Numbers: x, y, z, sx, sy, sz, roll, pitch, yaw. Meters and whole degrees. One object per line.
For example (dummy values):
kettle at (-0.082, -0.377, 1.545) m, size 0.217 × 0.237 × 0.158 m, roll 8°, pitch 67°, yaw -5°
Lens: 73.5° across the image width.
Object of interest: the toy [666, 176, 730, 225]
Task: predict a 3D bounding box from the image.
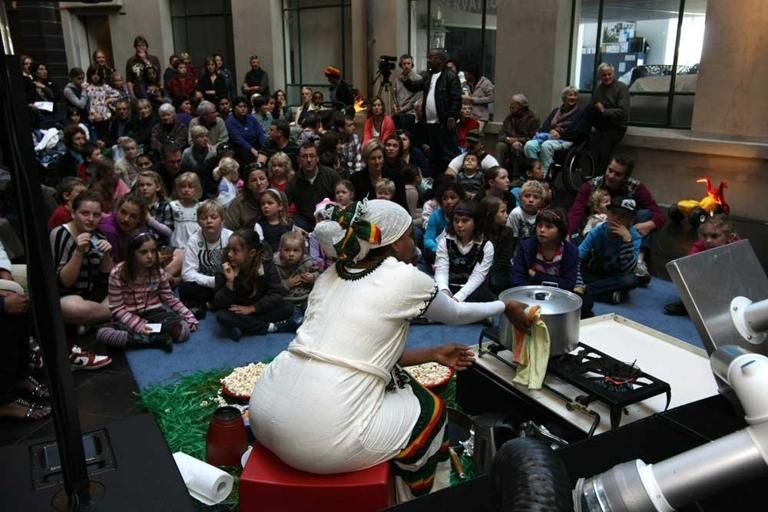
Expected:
toy at (3.874, -0.677, 6.292) m, size 0.650 × 0.659 × 0.648 m, roll -16°, pitch 17°, yaw -22°

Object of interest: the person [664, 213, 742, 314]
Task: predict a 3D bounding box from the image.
person at (2.636, 0.017, 4.255) m, size 0.369 × 0.778 × 0.820 m, roll 12°, pitch 22°, yaw 34°

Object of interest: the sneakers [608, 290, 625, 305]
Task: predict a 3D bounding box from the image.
sneakers at (2.000, 0.353, 4.381) m, size 0.102 × 0.084 × 0.137 m, roll 7°, pitch 21°, yaw 16°

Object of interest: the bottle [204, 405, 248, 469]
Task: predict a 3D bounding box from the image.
bottle at (-0.737, 0.883, 2.549) m, size 0.218 × 0.284 × 0.254 m, roll 1°, pitch 1°, yaw -6°

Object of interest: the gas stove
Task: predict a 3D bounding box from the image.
gas stove at (0.967, 0.579, 2.453) m, size 0.391 × 0.188 × 0.799 m, roll -13°, pitch 5°, yaw -6°
